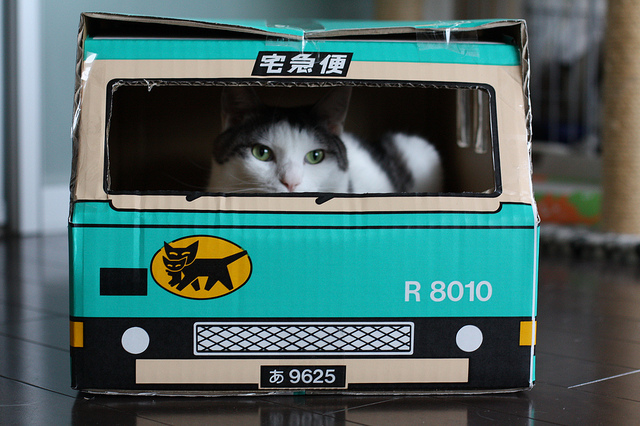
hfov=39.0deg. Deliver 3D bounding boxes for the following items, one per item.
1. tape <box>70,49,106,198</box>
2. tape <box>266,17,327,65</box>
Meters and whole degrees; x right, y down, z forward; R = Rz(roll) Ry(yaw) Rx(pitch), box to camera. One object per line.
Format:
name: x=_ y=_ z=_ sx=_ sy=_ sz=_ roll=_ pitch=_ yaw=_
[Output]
tape: x=-0.603 y=-0.235 z=2.371 sx=0.083 sy=0.386 sz=0.103 roll=-1 pitch=9 yaw=20
tape: x=-0.060 y=-0.461 z=2.424 sx=0.135 sy=0.144 sz=0.038 roll=0 pitch=-31 yaw=-8
